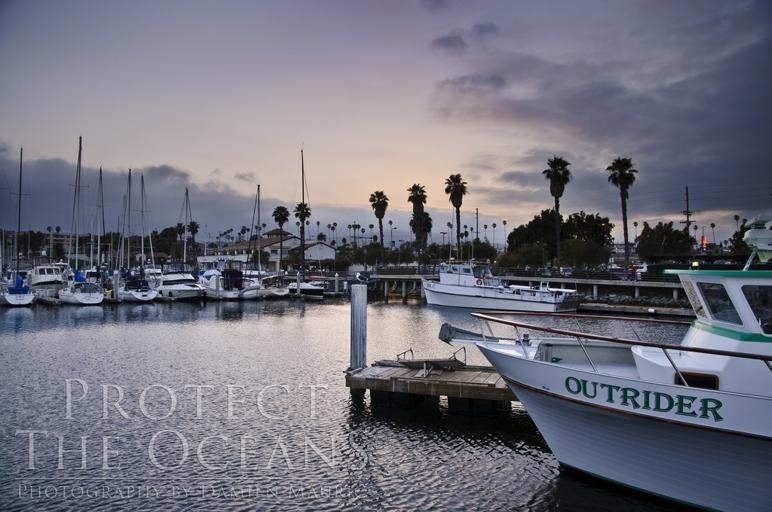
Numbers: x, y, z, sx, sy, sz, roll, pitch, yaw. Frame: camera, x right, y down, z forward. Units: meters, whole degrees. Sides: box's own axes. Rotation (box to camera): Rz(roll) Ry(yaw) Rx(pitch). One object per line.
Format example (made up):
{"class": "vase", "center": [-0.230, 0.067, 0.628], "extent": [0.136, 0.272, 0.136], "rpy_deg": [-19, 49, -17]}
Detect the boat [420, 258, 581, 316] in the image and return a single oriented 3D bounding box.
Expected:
{"class": "boat", "center": [9.225, 2.552, 52.061], "extent": [14.323, 4.349, 4.167], "rpy_deg": [3, -3, 38]}
